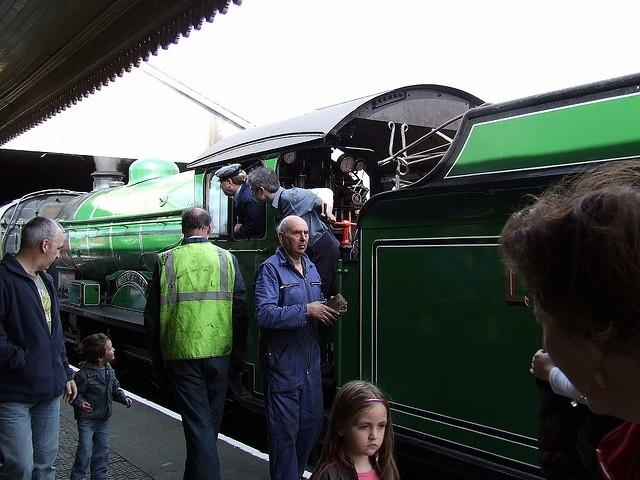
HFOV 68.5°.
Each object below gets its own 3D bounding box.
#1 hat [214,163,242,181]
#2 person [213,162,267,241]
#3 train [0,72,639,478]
[{"bbox_3d":[-0.902,-0.684,4.556,0.190,0.065,0.179,1,14,40],"label":"hat"},{"bbox_3d":[-0.771,-0.422,4.729,0.501,0.759,0.573,-8,15,-25],"label":"person"},{"bbox_3d":[-0.306,-0.277,5.772,2.310,2.508,7.489,-3,7,-38],"label":"train"}]
